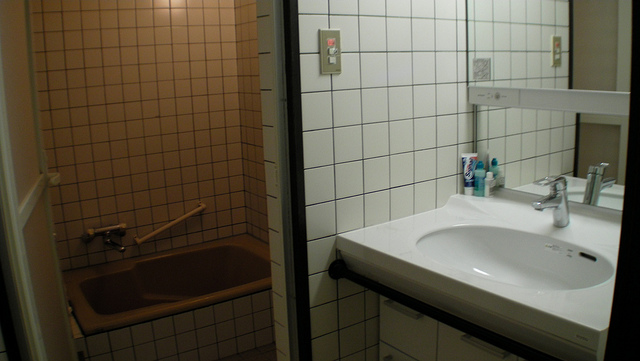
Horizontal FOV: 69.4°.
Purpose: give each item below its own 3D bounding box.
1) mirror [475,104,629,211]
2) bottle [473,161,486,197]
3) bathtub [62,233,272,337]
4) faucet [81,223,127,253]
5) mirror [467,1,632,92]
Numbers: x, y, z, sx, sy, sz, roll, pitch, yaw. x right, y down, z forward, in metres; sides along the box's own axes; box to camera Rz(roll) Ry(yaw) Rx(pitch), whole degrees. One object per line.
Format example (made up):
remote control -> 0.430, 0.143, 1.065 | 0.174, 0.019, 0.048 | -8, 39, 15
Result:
mirror -> 1.263, -0.128, 2.469 | 0.594, 0.492, 0.200 | 6, 7, 45
bottle -> 0.937, -0.009, 2.710 | 0.064, 0.195, 0.069 | -3, 19, 1
bathtub -> -1.107, 0.841, 3.502 | 1.476, 0.324, 0.891 | -11, 21, -23
faucet -> -1.625, 0.448, 3.599 | 0.258, 0.128, 0.332 | 29, 25, 34
mirror -> 1.244, -0.719, 2.444 | 0.758, 0.733, 0.017 | 1, 5, 20
